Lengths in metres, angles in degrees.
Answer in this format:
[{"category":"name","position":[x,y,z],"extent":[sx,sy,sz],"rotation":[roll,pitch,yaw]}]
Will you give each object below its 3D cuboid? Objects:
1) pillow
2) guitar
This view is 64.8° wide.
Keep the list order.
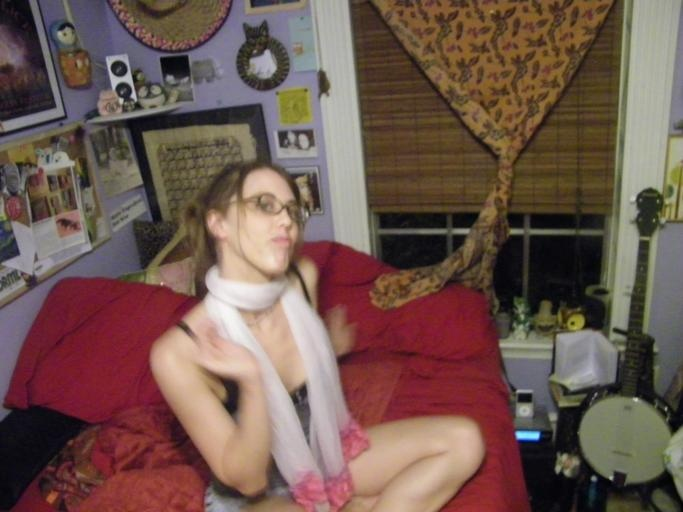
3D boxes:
[{"category":"pillow","position":[-0.608,0.419,2.537],"extent":[1.442,0.488,1.079],"rotation":[1,19,12]},{"category":"guitar","position":[1.410,0.454,2.631],"extent":[0.488,1.562,0.222],"rotation":[1,20,16]}]
